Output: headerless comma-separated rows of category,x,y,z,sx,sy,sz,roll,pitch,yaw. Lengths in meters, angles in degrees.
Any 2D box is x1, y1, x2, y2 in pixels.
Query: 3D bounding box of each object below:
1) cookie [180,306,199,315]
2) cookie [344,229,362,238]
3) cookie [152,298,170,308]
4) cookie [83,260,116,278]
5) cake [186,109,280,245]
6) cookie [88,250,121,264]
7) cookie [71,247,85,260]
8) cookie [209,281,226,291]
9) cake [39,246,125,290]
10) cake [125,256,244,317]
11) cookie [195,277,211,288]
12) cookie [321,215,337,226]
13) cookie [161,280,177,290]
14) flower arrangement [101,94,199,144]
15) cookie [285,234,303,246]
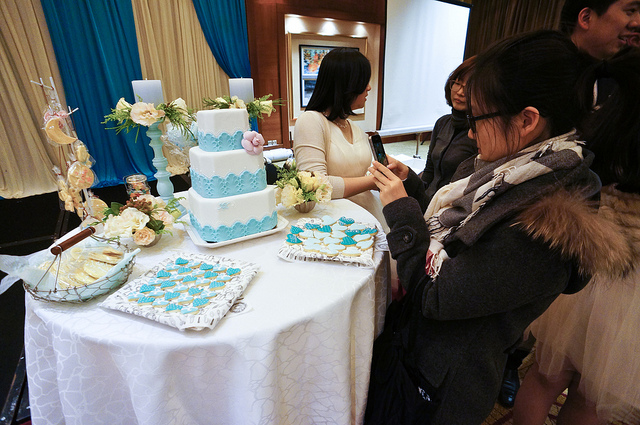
cookie,-0.524,0.393,1.685,0.045,0.011,0.031,-1,18,-8
cookie,0.158,0.100,2.095,0.060,0.016,0.043,-8,25,-18
cookie,-0.654,0.371,1.720,0.066,0.013,0.048,3,27,14
cookie,-0.976,0.243,1.846,0.066,0.013,0.111,-20,35,-38
cake,-0.479,-0.209,2.162,0.514,0.578,0.541,6,19,21
cookie,-0.967,0.200,1.882,0.125,0.034,0.064,7,12,-13
cookie,-1.085,0.184,1.878,0.051,0.010,0.052,34,39,16
cookie,-0.442,0.311,1.790,0.039,0.011,0.040,0,25,-2
cake,-1.037,0.233,1.844,0.176,0.060,0.252,26,29,27
cake,-0.574,0.307,1.801,0.390,0.072,0.293,4,27,17
cookie,-0.508,0.302,1.814,0.053,0.022,0.030,1,21,20
cookie,0.041,0.044,2.187,0.052,0.013,0.052,5,20,-38
cookie,-0.652,0.310,1.799,0.031,0.017,0.049,-8,13,-41
flower arrangement,-0.932,-0.519,2.317,0.294,0.237,0.396,9,21,25
cookie,-0.133,0.132,2.028,0.067,0.024,0.046,20,54,-12
